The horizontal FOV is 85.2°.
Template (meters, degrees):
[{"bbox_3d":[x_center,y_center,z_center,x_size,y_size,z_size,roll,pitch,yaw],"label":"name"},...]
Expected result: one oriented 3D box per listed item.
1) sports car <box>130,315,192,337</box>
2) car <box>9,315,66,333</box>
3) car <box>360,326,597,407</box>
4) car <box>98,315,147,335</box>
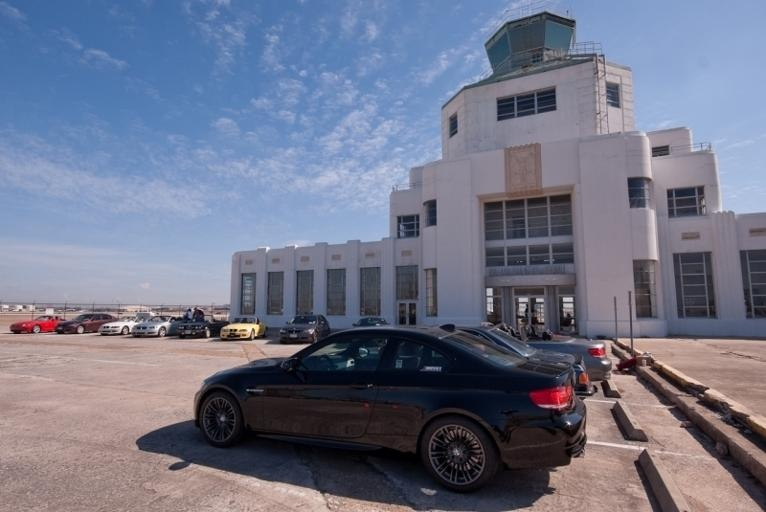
[{"bbox_3d":[-15.738,5.110,29.687,2.120,0.994,3.659,-2,-10,13],"label":"sports car"},{"bbox_3d":[-26.164,5.414,31.587,2.104,0.957,3.351,1,-3,-5],"label":"car"},{"bbox_3d":[1.493,2.629,9.137,5.836,1.406,2.245,1,-6,16],"label":"car"},{"bbox_3d":[-19.373,5.322,32.004,1.999,1.017,3.967,-2,-8,11],"label":"car"}]
